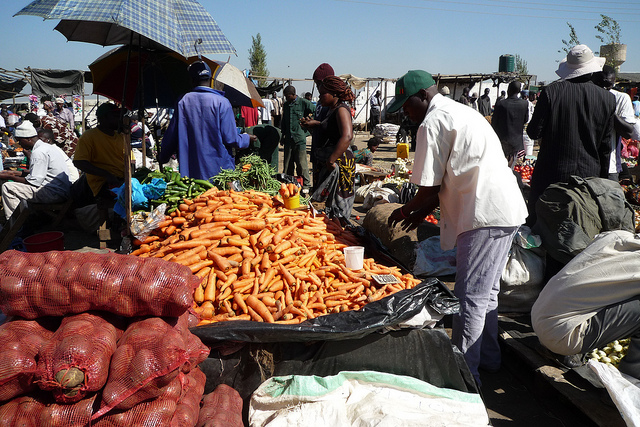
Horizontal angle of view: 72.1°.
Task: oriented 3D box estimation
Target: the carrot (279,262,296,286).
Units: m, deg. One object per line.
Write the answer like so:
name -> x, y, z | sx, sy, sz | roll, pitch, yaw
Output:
carrot -> -0.301, 0.582, 4.098 | 0.070, 0.075, 0.268 | -18, 58, -16

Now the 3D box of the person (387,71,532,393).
person -> 1.232, 0.177, 3.979 | 1.249, 2.738, 0.646 | 13, 19, 29

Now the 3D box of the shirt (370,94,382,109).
shirt -> 2.743, -5.593, 22.081 | 0.450, 0.612, 1.164 | 6, 17, 6

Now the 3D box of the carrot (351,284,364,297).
carrot -> 0.350, 0.706, 4.048 | 0.047, 0.049, 0.175 | 14, 37, 35

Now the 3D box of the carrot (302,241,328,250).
carrot -> -0.003, 0.323, 4.514 | 0.372, 0.109, 0.083 | 0, 5, 3

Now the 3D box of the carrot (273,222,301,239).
carrot -> -0.308, 0.161, 4.536 | 0.347, 0.098, 0.080 | -31, 36, -34

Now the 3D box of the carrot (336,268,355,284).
carrot -> 0.243, 0.608, 4.225 | 0.046, 0.055, 0.272 | -21, 51, -23

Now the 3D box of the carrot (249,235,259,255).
carrot -> -0.643, 0.299, 4.329 | 0.056, 0.212, 0.056 | -1, -20, -44

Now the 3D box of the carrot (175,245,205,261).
carrot -> -1.235, 0.372, 4.192 | 0.315, 0.079, 0.101 | -10, 22, -41

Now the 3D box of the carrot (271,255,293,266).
carrot -> -0.355, 0.445, 4.242 | 0.066, 0.063, 0.246 | 29, 38, 35

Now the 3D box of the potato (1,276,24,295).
potato -> -2.081, 0.489, 2.989 | 0.159, 0.105, 0.063 | 6, 17, 4

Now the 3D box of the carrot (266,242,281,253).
carrot -> -0.470, 0.331, 4.302 | 0.059, 0.053, 0.128 | 6, 6, 21

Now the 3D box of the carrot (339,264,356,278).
carrot -> 0.254, 0.552, 4.279 | 0.047, 0.061, 0.224 | -31, 44, -18

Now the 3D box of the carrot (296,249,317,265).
carrot -> -0.128, 0.423, 4.368 | 0.223, 0.068, 0.051 | -41, 32, -16

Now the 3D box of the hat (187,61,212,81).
hat -> -1.549, -1.854, 5.705 | 0.258, 0.242, 0.198 | -2, 17, -19

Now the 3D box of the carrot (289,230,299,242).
carrot -> -0.252, 0.229, 4.492 | 0.091, 0.042, 0.098 | -15, -9, -11

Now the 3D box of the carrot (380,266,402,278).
carrot -> 0.695, 0.574, 4.335 | 0.231, 0.049, 0.111 | 10, 17, 16

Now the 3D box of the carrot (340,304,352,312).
carrot -> 0.229, 0.835, 3.913 | 0.075, 0.037, 0.110 | 15, 19, 30

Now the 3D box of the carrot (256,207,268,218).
carrot -> -0.611, -0.017, 4.679 | 0.046, 0.044, 0.180 | 15, 26, 14

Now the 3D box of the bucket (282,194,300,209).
bucket -> -0.310, -0.130, 4.935 | 0.143, 0.112, 0.145 | -2, 4, 0

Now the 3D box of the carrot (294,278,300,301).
carrot -> -0.208, 0.699, 4.053 | 0.046, 0.138, 0.157 | 3, 17, -4

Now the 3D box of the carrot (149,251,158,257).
carrot -> -1.677, 0.413, 4.408 | 0.059, 0.014, 0.034 | -13, 41, 17

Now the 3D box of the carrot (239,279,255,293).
carrot -> -0.661, 0.664, 3.985 | 0.042, 0.033, 0.150 | 32, 45, 34

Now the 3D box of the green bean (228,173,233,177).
green bean -> -1.122, -0.478, 5.493 | 0.038, 0.025, 0.065 | 14, 19, 30

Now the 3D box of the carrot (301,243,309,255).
carrot -> -0.149, 0.350, 4.441 | 0.033, 0.163, 0.043 | -25, -10, 33

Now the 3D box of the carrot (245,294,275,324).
carrot -> -0.520, 0.812, 3.882 | 0.122, 0.126, 0.401 | -28, 59, -28

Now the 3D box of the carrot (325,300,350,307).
carrot -> 0.162, 0.792, 3.933 | 0.210, 0.067, 0.066 | -3, 8, -4

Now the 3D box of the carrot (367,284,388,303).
carrot -> 0.515, 0.740, 4.044 | 0.292, 0.077, 0.066 | -25, 53, -36

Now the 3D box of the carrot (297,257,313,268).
carrot -> -0.157, 0.472, 4.290 | 0.051, 0.060, 0.172 | 14, 19, 29

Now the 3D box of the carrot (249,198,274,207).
carrot -> -0.648, -0.134, 4.973 | 0.293, 0.085, 0.087 | 6, 10, 2

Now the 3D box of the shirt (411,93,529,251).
shirt -> 1.390, -0.340, 4.093 | 0.897, 1.279, 0.962 | -5, -1, 19

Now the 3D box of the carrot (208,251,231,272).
carrot -> -0.938, 0.453, 4.191 | 0.251, 0.103, 0.094 | 48, -2, 25

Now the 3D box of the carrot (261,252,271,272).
carrot -> -0.514, 0.459, 4.149 | 0.061, 0.062, 0.154 | 4, 50, -8

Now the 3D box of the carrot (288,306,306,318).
carrot -> -0.193, 0.847, 3.789 | 0.213, 0.060, 0.052 | 15, -15, 9

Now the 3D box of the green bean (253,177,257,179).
green bean -> -0.819, -0.448, 5.585 | 0.058, 0.017, 0.006 | 13, 18, 25

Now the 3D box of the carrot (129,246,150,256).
carrot -> -1.842, 0.385, 4.533 | 0.191, 0.092, 0.084 | 2, 17, -8

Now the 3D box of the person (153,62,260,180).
person -> -1.576, -1.066, 5.831 | 1.043, 1.186, 0.424 | 4, 16, -2

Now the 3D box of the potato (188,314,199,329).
potato -> -1.000, 0.851, 3.490 | 0.061, 0.091, 0.090 | 2, 17, -6

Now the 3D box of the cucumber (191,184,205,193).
cucumber -> -1.486, -0.315, 5.339 | 0.043, 0.048, 0.171 | -35, 2, 14

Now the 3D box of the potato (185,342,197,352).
potato -> -0.918, 0.959, 3.149 | 0.057, 0.053, 0.018 | -27, 47, 20

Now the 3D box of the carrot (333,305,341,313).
carrot -> 0.149, 0.845, 3.893 | 0.060, 0.047, 0.076 | 9, 17, 14

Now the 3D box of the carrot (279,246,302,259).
carrot -> -0.285, 0.366, 4.350 | 0.233, 0.057, 0.067 | -21, 61, -29

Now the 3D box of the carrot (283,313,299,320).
carrot -> -0.249, 0.873, 3.751 | 0.042, 0.047, 0.147 | 18, 8, 32

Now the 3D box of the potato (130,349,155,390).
potato -> -1.150, 1.006, 2.859 | 0.161, 0.222, 0.083 | 13, -8, -4

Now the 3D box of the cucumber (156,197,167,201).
cucumber -> -1.853, -0.174, 5.185 | 0.118, 0.051, 0.043 | 9, 17, 15

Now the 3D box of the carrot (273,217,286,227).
carrot -> -0.425, 0.085, 4.576 | 0.034, 0.040, 0.181 | 27, 51, 36

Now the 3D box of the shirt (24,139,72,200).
shirt -> -4.252, -0.646, 6.870 | 0.679, 0.961, 0.927 | 4, 4, -19

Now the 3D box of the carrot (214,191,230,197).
carrot -> -1.093, -0.225, 4.920 | 0.186, 0.063, 0.060 | -1, 3, -17

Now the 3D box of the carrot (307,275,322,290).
carrot -> -0.041, 0.637, 4.129 | 0.055, 0.051, 0.206 | -37, 75, -20

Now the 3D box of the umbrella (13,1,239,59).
umbrella -> -1.778, -1.985, 4.576 | 1.632, 0.571, 0.623 | 0, 17, -15

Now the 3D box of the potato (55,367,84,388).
potato -> -1.568, 1.026, 2.794 | 0.137, 0.126, 0.079 | -4, 24, -5

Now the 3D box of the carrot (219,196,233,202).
carrot -> -1.031, -0.161, 4.845 | 0.142, 0.052, 0.065 | 2, 17, -9

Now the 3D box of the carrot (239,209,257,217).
carrot -> -0.777, -0.017, 4.749 | 0.221, 0.061, 0.052 | -16, 5, -31

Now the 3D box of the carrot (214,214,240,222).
carrot -> -0.956, 0.044, 4.559 | 0.267, 0.074, 0.077 | 1, 10, -12

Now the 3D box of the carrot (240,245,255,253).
carrot -> -0.708, 0.342, 4.343 | 0.157, 0.050, 0.047 | 24, -15, 2

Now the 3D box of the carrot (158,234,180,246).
carrot -> -1.541, 0.276, 4.533 | 0.178, 0.042, 0.049 | -28, 14, -14

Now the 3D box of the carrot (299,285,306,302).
carrot -> -0.157, 0.753, 3.994 | 0.055, 0.076, 0.058 | -2, -19, -2

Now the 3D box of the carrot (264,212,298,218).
carrot -> -0.429, 0.013, 4.686 | 0.237, 0.042, 0.046 | -3, 6, -19

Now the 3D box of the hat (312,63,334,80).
hat -> 0.046, -1.849, 5.726 | 0.242, 0.199, 0.209 | 4, 17, -2
